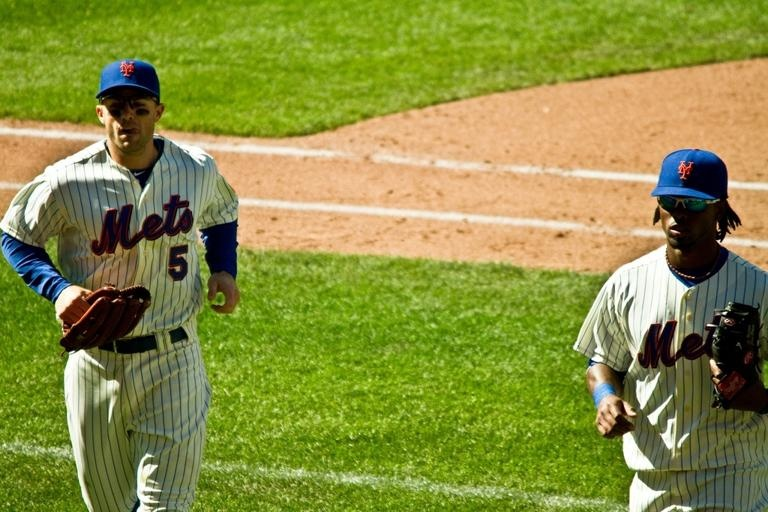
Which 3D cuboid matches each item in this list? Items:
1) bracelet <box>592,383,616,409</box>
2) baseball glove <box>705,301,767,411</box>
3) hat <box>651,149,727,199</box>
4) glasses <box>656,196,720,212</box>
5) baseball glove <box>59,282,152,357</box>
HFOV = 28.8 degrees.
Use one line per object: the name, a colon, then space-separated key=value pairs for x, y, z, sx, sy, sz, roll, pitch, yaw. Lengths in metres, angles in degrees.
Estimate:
bracelet: x=1.489 y=0.962 z=10.320 sx=0.167 sy=0.148 sz=0.168 roll=17 pitch=-10 yaw=28
baseball glove: x=2.406 y=0.653 z=10.123 sx=0.466 sy=0.684 sz=0.321 roll=-4 pitch=9 yaw=19
hat: x=2.133 y=-0.560 z=10.329 sx=0.517 sy=0.319 sz=0.645 roll=3 pitch=12 yaw=19
glasses: x=2.075 y=-0.349 z=10.203 sx=0.395 sy=0.099 sz=0.105 roll=3 pitch=9 yaw=11
baseball glove: x=-1.939 y=0.362 z=10.412 sx=0.495 sy=0.269 sz=0.654 roll=-17 pitch=22 yaw=-38
